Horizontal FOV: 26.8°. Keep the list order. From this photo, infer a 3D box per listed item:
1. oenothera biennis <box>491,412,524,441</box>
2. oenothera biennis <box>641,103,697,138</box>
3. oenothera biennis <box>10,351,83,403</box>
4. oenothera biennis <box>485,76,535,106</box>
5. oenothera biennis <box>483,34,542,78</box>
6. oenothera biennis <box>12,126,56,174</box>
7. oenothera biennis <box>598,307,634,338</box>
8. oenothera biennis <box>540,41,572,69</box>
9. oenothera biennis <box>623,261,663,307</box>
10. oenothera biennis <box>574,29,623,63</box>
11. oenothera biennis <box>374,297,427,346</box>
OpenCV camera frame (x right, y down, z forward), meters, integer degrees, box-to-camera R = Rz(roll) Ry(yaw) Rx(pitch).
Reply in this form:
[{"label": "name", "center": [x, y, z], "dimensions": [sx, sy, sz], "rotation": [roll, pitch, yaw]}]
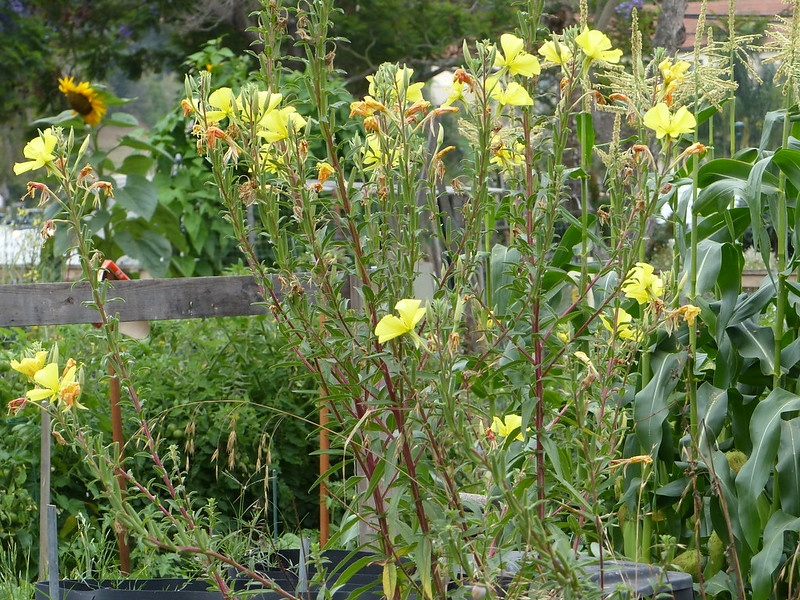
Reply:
[{"label": "oenothera biennis", "center": [0.548, 0.664, 8.606], "dimensions": [0.160, 0.134, 0.335], "rotation": [-8, 6, 3]}, {"label": "oenothera biennis", "center": [1.376, -0.920, 8.603], "dimensions": [0.257, 0.190, 0.219], "rotation": [-7, 6, 11]}, {"label": "oenothera biennis", "center": [-1.760, 0.411, 8.500], "dimensions": [0.265, 0.318, 0.139], "rotation": [-15, 3, -20]}, {"label": "oenothera biennis", "center": [0.556, -1.030, 8.447], "dimensions": [0.153, 0.079, 0.158], "rotation": [22, -9, 31]}, {"label": "oenothera biennis", "center": [0.589, -1.230, 8.482], "dimensions": [0.239, 0.235, 0.183], "rotation": [-8, 6, 0]}, {"label": "oenothera biennis", "center": [-1.836, -0.794, 8.565], "dimensions": [0.090, 0.236, 0.230], "rotation": [23, 25, -13]}, {"label": "oenothera biennis", "center": [1.140, 0.131, 8.777], "dimensions": [0.174, 0.186, 0.437], "rotation": [-7, 6, 7]}, {"label": "oenothera biennis", "center": [0.790, -1.250, 8.537], "dimensions": [0.169, 0.135, 0.124], "rotation": [-7, 6, 11]}, {"label": "oenothera biennis", "center": [1.257, -0.082, 8.784], "dimensions": [0.183, 0.222, 0.091], "rotation": [9, -15, -17]}, {"label": "oenothera biennis", "center": [0.995, -1.280, 8.522], "dimensions": [0.263, 0.188, 0.159], "rotation": [-10, 6, -17]}, {"label": "oenothera biennis", "center": [0.045, 0.120, 8.280], "dimensions": [0.261, 0.144, 0.303], "rotation": [18, 22, 41]}]
